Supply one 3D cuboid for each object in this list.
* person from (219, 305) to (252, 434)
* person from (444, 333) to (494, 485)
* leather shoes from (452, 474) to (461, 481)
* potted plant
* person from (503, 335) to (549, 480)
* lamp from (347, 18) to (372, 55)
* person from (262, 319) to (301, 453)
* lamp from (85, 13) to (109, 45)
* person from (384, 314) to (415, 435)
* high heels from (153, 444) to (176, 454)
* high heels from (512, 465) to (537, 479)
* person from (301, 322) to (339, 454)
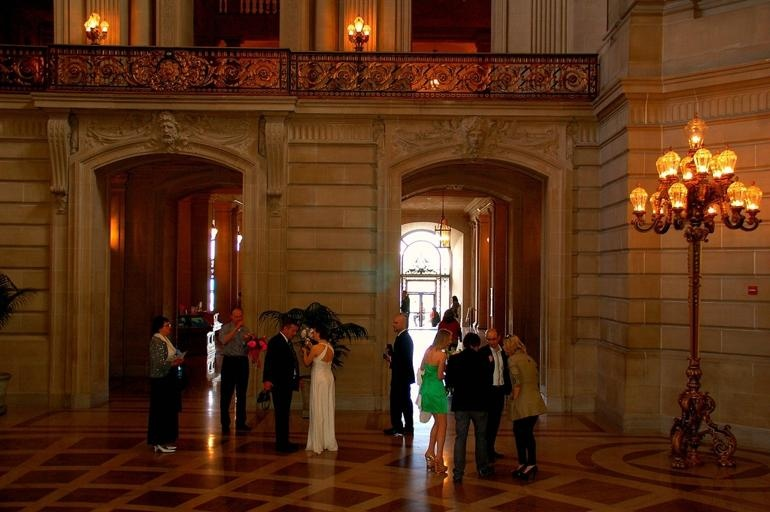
[{"bbox_3d":[-2.941,2.220,15.373,0.651,2.392,0.862,-2,9,-13],"label":"person"},{"bbox_3d":[1.458,2.521,13.053,0.735,2.382,0.532,-2,9,-14],"label":"person"},{"bbox_3d":[1.228,3.663,12.946,0.139,0.149,0.099,1,9,5],"label":"leather shoes"},{"bbox_3d":[-1.436,1.948,16.422,1.779,1.276,1.819,20,-12,2],"label":"potted plant"},{"bbox_3d":[2.393,2.537,13.178,0.615,2.299,0.575,0,8,-2],"label":"person"},{"bbox_3d":[-0.577,-4.885,17.220,0.487,0.839,0.889,0,9,2],"label":"lamp"},{"bbox_3d":[-1.885,2.354,14.242,0.618,2.261,0.677,-1,8,-4],"label":"person"},{"bbox_3d":[-6.409,-5.014,17.289,0.529,0.672,0.476,-6,14,-32],"label":"lamp"},{"bbox_3d":[0.306,2.306,15.158,0.575,2.275,0.793,0,8,0],"label":"person"},{"bbox_3d":[-3.978,3.484,14.109,0.265,0.109,0.198,-1,-5,-7],"label":"high heels"},{"bbox_3d":[2.373,3.630,13.121,0.377,0.168,0.198,5,-6,-33],"label":"high heels"},{"bbox_3d":[-1.145,2.413,14.117,0.578,2.206,0.522,-1,8,-7],"label":"person"}]
